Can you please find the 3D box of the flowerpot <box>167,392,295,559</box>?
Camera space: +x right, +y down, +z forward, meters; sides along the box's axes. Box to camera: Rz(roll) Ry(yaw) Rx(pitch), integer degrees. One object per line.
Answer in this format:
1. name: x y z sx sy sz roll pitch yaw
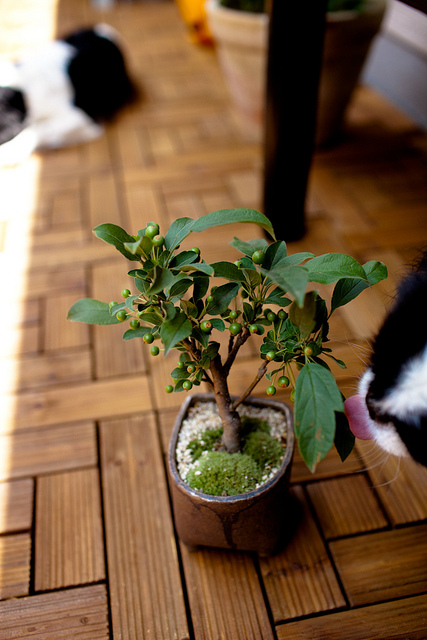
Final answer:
1. flowerpot: 0.059 0.237 0.916 0.235 0.212 0.266 4 39 8
